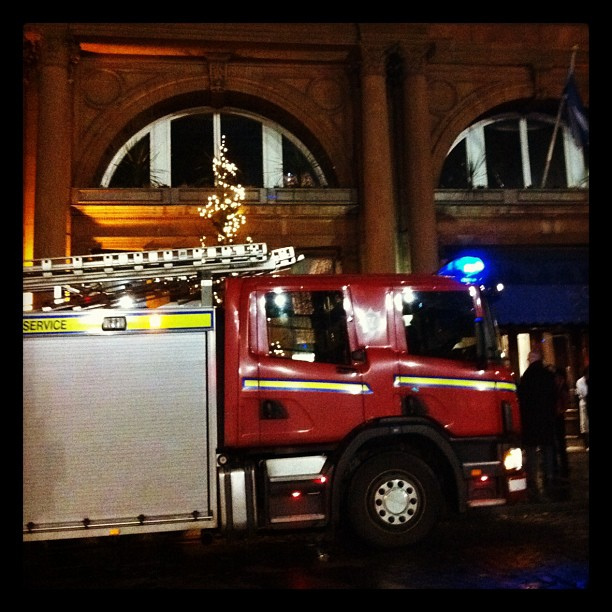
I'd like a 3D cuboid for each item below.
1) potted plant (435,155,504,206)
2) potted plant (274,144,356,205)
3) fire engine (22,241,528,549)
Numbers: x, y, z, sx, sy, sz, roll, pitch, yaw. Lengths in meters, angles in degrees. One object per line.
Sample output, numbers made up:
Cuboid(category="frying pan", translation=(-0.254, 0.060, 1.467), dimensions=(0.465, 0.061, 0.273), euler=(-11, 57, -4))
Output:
Cuboid(category="potted plant", translation=(3.950, -3.065, 20.759), dimensions=(1.567, 1.300, 1.929), euler=(-2, 0, 11))
Cuboid(category="potted plant", translation=(0.277, -3.101, 20.394), dimensions=(1.495, 1.386, 0.785), euler=(2, -22, -9))
Cuboid(category="fire engine", translation=(-1.002, 0.921, 10.424), dimensions=(7.504, 3.482, 2.437), euler=(-2, -2, -7))
